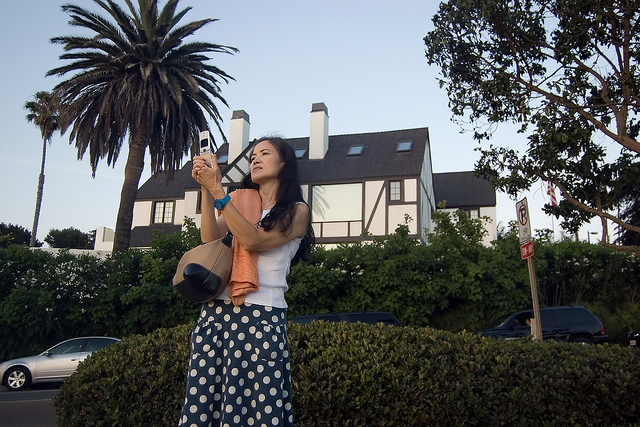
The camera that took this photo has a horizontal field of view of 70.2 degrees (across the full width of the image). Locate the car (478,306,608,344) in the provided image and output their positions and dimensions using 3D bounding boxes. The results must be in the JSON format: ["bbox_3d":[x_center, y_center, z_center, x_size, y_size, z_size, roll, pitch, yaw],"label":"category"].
[{"bbox_3d":[7.538,3.697,14.978,3.349,1.078,1.149,-2,-7,1],"label":"car"}]
